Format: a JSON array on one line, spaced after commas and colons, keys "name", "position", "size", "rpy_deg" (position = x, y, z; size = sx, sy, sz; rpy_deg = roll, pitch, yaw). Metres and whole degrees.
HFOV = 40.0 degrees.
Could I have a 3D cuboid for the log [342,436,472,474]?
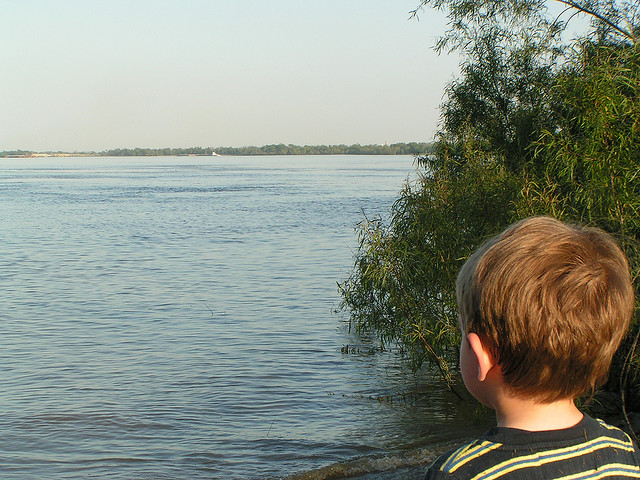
[{"name": "log", "position": [1.127, 2.844, 11.795], "size": [1.876, 0.170, 0.613], "rpy_deg": [-4, 10, -23]}]
